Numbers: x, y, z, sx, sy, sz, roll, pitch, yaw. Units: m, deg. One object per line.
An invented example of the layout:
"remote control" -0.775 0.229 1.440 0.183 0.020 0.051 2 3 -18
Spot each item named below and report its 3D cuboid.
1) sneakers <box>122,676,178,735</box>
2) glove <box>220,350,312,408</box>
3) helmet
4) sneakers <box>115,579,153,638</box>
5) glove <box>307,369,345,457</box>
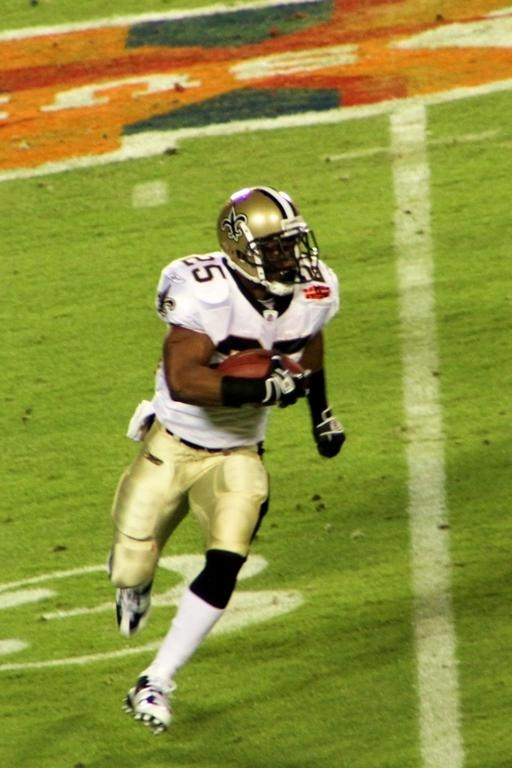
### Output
"sneakers" -0.392 1.103 4.418 0.165 0.098 0.269 -46 27 -12
"glove" 0.012 -0.045 4.527 0.397 0.278 0.155 8 103 9
"helmet" 0.037 -0.558 4.701 0.289 0.311 0.420 -19 27 -41
"sneakers" -0.487 0.880 4.987 0.108 0.129 0.280 12 106 -4
"glove" 0.263 0.131 4.998 0.124 0.158 0.388 -7 58 -7
